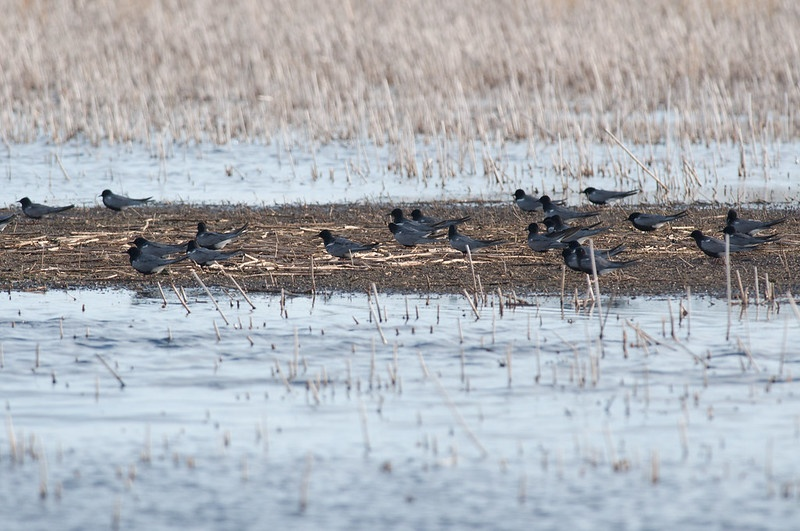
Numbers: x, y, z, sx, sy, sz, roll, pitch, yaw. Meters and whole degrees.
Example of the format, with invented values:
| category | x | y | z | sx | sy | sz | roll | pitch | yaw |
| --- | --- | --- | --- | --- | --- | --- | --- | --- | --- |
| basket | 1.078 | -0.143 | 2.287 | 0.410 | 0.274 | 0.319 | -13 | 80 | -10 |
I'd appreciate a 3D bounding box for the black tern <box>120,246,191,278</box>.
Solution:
| category | x | y | z | sx | sy | sz | roll | pitch | yaw |
| --- | --- | --- | --- | --- | --- | --- | --- | --- | --- |
| black tern | -4.775 | -0.050 | 30.518 | 1.776 | 0.645 | 0.447 | 0 | 18 | 3 |
